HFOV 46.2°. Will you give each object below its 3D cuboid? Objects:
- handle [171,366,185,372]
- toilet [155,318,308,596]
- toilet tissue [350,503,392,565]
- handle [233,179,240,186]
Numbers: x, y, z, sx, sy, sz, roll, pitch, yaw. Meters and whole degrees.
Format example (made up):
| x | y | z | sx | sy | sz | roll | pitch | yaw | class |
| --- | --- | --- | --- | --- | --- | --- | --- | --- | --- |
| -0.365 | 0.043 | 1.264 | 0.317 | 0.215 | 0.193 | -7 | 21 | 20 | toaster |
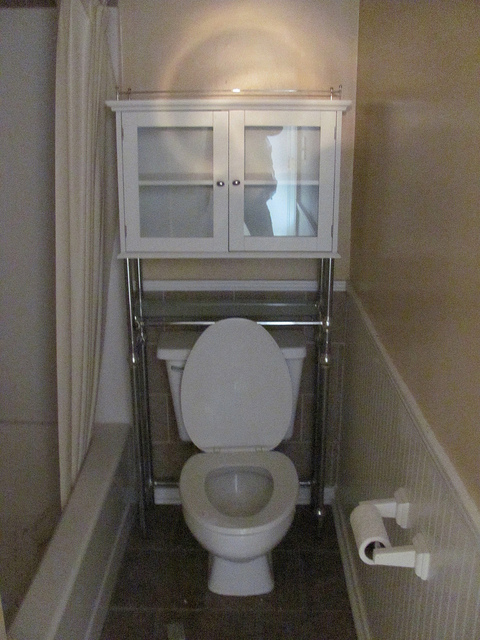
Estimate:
| x | y | z | sx | sy | sz | roll | pitch | yaw | class |
| --- | --- | --- | --- | --- | --- | --- | --- | --- | --- |
| -0.214 | 0.169 | 1.929 | 0.031 | 0.028 | 0.009 | 1 | 9 | 0 | handle |
| -0.004 | 0.398 | 1.918 | 0.451 | 0.964 | 0.783 | -1 | 21 | -3 | toilet |
| 0.244 | 0.408 | 1.070 | 0.064 | 0.101 | 0.162 | 2 | 15 | 7 | toilet tissue |
| -0.012 | -0.405 | 1.681 | 0.019 | 0.017 | 0.007 | 0 | 12 | -2 | handle |
